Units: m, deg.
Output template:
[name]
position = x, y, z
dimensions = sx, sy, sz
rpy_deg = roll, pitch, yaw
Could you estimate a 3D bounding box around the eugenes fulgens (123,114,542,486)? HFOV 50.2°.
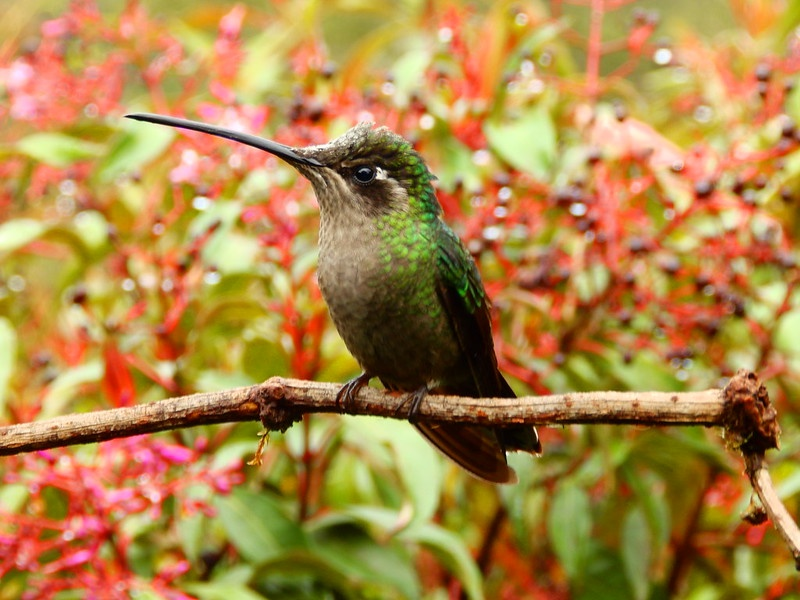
[eugenes fulgens]
position = -0.092, -0.107, 3.453
dimensions = 0.883, 1.052, 0.415
rpy_deg = -11, -12, -40
